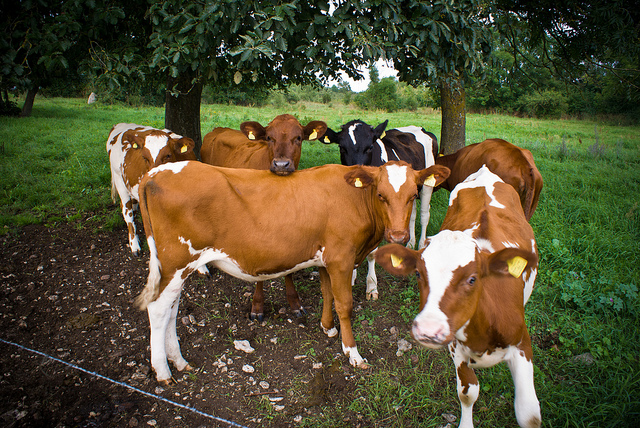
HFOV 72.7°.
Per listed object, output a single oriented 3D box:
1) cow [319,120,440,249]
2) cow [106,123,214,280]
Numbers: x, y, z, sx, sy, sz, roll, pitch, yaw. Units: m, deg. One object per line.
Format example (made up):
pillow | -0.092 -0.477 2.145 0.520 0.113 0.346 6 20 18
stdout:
cow | 1.129 -1.059 9.627 1.438 2.759 4.003 3 4 36
cow | -3.892 -0.353 10.133 1.387 3.043 5.381 -3 5 -24
